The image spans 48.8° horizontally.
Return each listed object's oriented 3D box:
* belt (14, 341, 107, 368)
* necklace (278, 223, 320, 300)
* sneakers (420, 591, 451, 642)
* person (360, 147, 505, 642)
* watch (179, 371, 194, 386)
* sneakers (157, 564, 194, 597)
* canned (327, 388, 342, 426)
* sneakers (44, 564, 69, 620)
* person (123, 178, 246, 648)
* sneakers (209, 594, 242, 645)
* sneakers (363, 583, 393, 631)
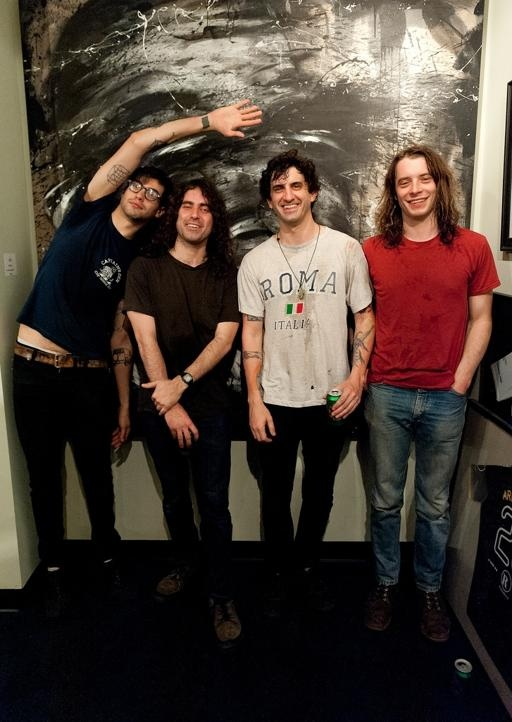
[{"bbox_3d":[-0.767,-0.011,2.229,0.329,0.135,0.082,-6,14,-21],"label":"belt"},{"bbox_3d":[0.156,-0.339,2.065,0.147,0.291,0.014,6,46,15],"label":"necklace"},{"bbox_3d":[0.689,0.946,2.178,0.098,0.103,0.271,-3,23,8],"label":"sneakers"},{"bbox_3d":[0.616,0.130,2.082,0.480,1.767,0.359,2,13,13],"label":"person"},{"bbox_3d":[-0.264,0.074,2.152,0.038,0.060,0.054,-35,11,-24],"label":"watch"},{"bbox_3d":[-0.342,0.924,2.418,0.065,0.063,0.176,36,21,8],"label":"sneakers"},{"bbox_3d":[0.282,0.170,2.048,0.048,0.129,0.041,1,13,9],"label":"canned"},{"bbox_3d":[-0.843,0.961,2.388,0.113,0.302,0.068,5,-31,-23],"label":"sneakers"},{"bbox_3d":[-0.223,0.149,2.221,0.439,1.671,0.638,-10,15,-36],"label":"person"},{"bbox_3d":[-0.112,0.974,2.147,0.091,0.039,0.169,-7,48,-7],"label":"sneakers"},{"bbox_3d":[0.468,0.956,2.192,0.064,0.078,0.194,1,13,14],"label":"sneakers"}]
